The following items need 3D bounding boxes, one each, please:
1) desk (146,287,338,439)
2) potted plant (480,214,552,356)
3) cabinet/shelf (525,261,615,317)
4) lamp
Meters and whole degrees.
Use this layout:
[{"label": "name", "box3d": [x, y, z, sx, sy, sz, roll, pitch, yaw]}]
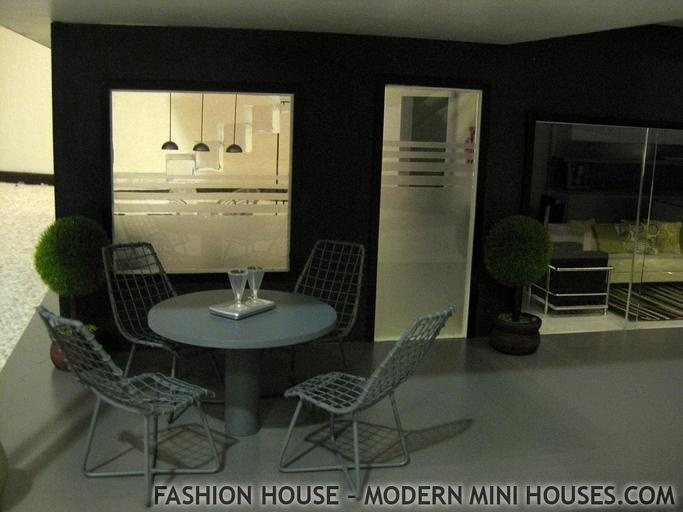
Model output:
[{"label": "desk", "box3d": [-0.625, 0.698, 3.522, 1.069, 0.680, 1.086, 16, 18, 42]}, {"label": "potted plant", "box3d": [1.747, 0.275, 5.086, 0.557, 1.339, 0.510, -8, 17, -34]}, {"label": "cabinet/shelf", "box3d": [2.536, 0.272, 5.832, 0.734, 0.503, 0.699, -1, 7, -6]}, {"label": "lamp", "box3d": [-1.306, -1.214, 4.669, 0.616, 0.523, 0.138, 1, 17, -9]}]
